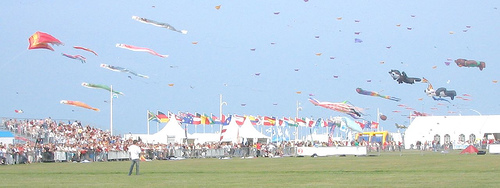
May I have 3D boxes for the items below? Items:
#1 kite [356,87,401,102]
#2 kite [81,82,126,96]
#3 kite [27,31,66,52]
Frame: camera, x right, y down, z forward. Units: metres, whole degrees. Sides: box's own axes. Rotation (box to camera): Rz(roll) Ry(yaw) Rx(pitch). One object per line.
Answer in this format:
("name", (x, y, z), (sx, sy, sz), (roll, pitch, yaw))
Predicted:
("kite", (20.091, 0.158, 159.411), (8.343, 2.407, 3.501), (0, 2, -44))
("kite", (-24.951, -1.024, 164.997), (7.168, 0.509, 1.512), (15, 22, -5))
("kite", (-46.557, -11.918, 225.906), (5.313, 4.528, 7.111), (8, -16, -25))
